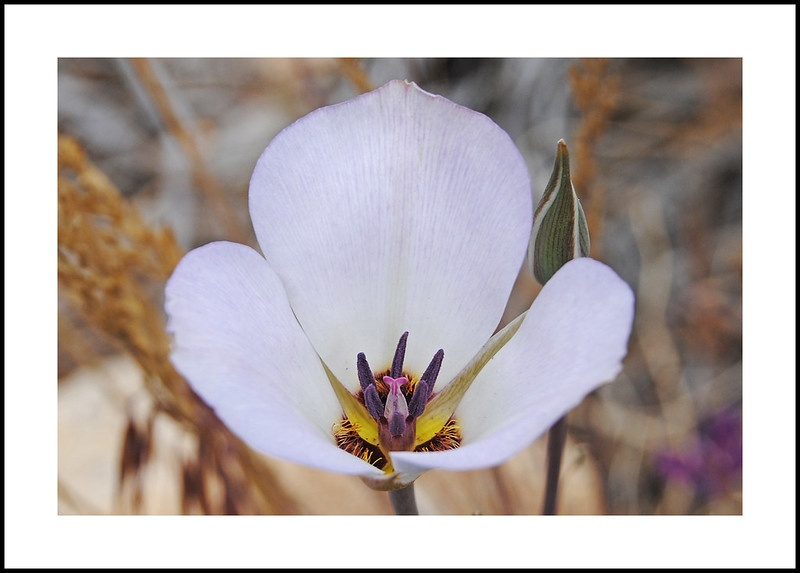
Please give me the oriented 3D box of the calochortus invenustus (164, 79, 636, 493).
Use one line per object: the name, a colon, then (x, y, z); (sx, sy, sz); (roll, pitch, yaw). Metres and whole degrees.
calochortus invenustus: (-0.022, 0.028, 1.077); (0.480, 0.388, 0.447); (-24, 36, -22)
